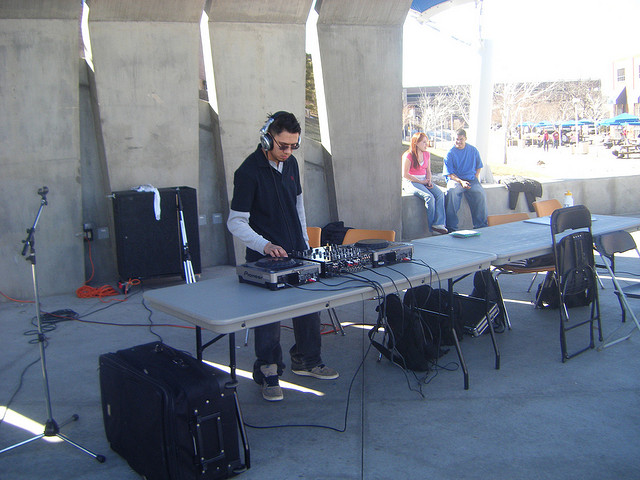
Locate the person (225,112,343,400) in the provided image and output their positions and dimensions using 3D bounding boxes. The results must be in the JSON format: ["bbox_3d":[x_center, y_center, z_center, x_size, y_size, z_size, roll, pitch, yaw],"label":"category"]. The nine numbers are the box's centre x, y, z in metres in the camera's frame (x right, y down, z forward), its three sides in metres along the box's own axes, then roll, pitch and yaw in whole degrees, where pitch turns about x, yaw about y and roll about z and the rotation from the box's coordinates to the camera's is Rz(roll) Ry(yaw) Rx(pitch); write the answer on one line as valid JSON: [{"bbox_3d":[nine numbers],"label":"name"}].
[{"bbox_3d":[-0.287,0.124,3.914,0.683,2.068,0.853,-3,9,0],"label":"person"}]

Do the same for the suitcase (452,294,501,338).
[{"bbox_3d":[1.392,0.704,4.759,0.235,0.339,0.285,-1,9,15],"label":"suitcase"}]

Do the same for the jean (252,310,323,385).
[{"bbox_3d":[-0.258,0.806,4.011,0.535,0.503,0.290,-9,10,-32],"label":"jean"}]

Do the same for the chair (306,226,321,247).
[{"bbox_3d":[-0.063,-0.018,5.148,0.160,0.219,0.174,-1,2,-19],"label":"chair"}]

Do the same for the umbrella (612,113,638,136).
[{"bbox_3d":[12.808,-4.912,22.052,0.925,0.672,0.883,1,6,5],"label":"umbrella"}]

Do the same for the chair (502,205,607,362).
[{"bbox_3d":[1.983,0.327,4.664,0.582,1.233,0.706,-10,5,-33],"label":"chair"}]

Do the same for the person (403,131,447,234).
[{"bbox_3d":[1.667,-0.926,8.475,0.644,1.604,0.499,-2,9,8],"label":"person"}]

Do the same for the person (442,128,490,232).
[{"bbox_3d":[2.347,-0.975,8.491,0.645,1.595,0.438,-1,9,16],"label":"person"}]

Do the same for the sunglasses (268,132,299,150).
[{"bbox_3d":[-0.248,-0.688,3.634,0.210,0.126,0.130,-5,9,-11],"label":"sunglasses"}]
